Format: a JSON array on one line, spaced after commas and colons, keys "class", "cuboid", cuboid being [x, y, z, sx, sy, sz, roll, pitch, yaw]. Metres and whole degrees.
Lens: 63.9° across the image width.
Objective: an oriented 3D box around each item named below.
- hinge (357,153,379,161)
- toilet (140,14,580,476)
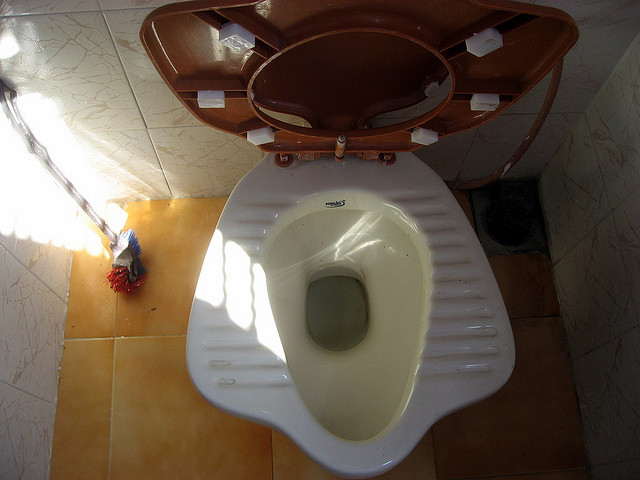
[{"class": "hinge", "cuboid": [0.118, -0.205, 1.254, 0.045, 0.025, 0.023, -4, 85, 1]}, {"class": "toilet", "cuboid": [0.117, 0.038, 1.109, 0.841, 0.715, 0.790, -8, 68, -1]}]
